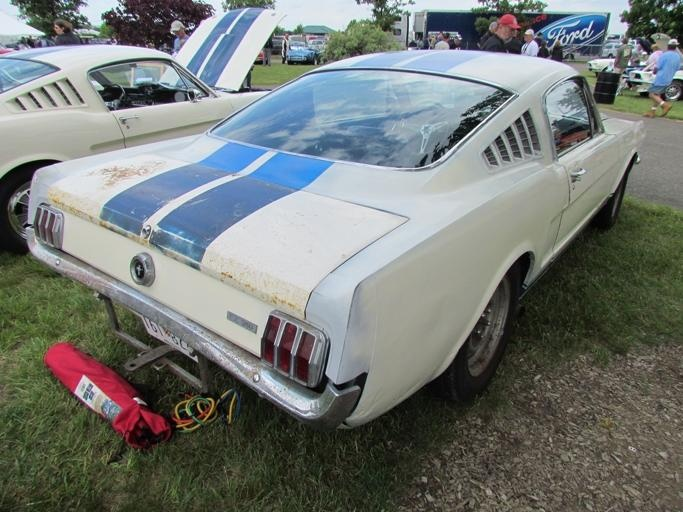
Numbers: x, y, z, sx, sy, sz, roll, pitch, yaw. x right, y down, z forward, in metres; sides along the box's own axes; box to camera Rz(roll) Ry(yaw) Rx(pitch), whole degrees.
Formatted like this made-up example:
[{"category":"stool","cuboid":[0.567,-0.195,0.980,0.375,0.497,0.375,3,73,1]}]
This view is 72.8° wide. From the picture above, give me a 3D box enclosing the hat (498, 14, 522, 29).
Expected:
[{"category":"hat","cuboid":[2.823,-3.979,7.860,0.385,0.223,0.273,4,43,9]}]
